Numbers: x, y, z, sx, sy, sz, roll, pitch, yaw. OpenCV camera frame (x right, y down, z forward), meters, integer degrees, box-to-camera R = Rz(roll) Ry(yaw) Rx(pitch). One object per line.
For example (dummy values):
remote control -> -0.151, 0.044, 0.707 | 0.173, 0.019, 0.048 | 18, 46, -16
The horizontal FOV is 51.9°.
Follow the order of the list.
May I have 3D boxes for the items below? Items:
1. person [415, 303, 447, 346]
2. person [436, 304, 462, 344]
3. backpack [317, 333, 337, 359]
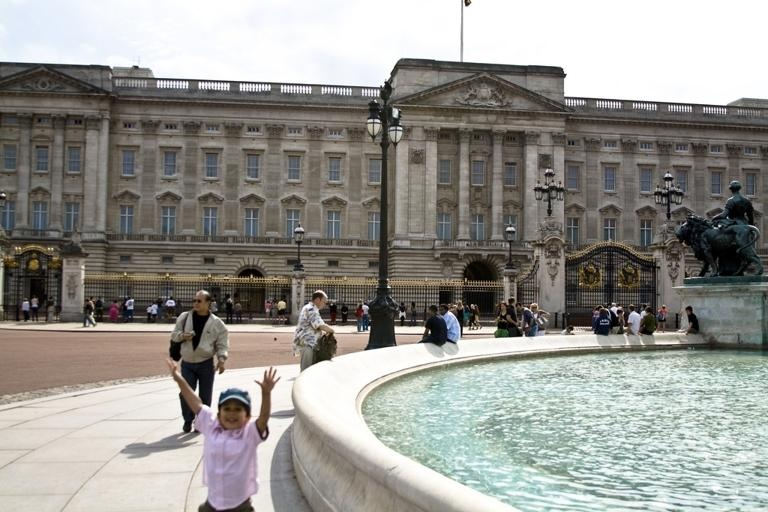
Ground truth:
person -> 1.385, 1.907, 21.732 | 0.672, 1.093, 0.731 | -3, -4, 6
person -> 1.804, 1.792, 22.302 | 0.738, 0.908, 0.523 | 9, 30, 39
backpack -> -1.365, 2.137, 18.651 | 0.521, 0.545, 0.185 | -2, 39, -21
